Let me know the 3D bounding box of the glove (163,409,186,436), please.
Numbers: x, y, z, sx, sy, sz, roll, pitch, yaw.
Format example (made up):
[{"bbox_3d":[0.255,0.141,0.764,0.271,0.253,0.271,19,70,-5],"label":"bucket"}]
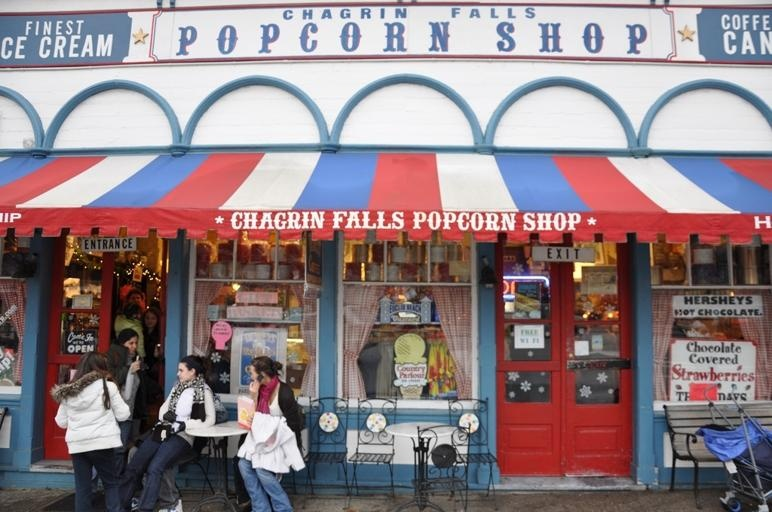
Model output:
[{"bbox_3d":[-3.257,2.590,12.715,0.299,0.383,0.137,-8,-8,11],"label":"glove"}]

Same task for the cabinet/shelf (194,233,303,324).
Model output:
[{"bbox_3d":[-2.257,0.435,13.882,1.595,1.348,0.489,0,-6,-1],"label":"cabinet/shelf"}]
